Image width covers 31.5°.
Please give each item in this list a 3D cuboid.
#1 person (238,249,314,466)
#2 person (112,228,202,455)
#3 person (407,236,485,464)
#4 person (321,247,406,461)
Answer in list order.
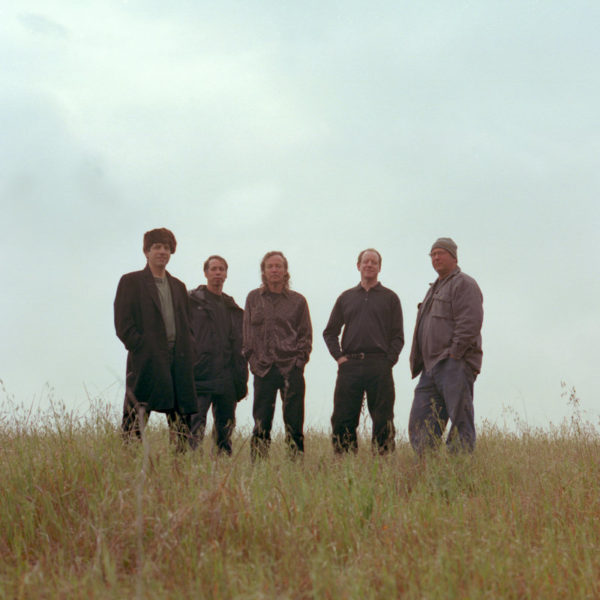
[{"bbox_3d":[-0.276,0.614,11.455,0.494,0.536,2.719,8,-55,12],"label":"person"},{"bbox_3d":[-1.371,0.337,10.097,0.780,2.142,0.567,1,-10,-10],"label":"person"},{"bbox_3d":[1.429,0.427,10.738,0.871,2.238,0.509,-10,-13,41],"label":"person"},{"bbox_3d":[0.661,0.771,11.306,0.679,3.025,0.519,-1,-33,8],"label":"person"}]
